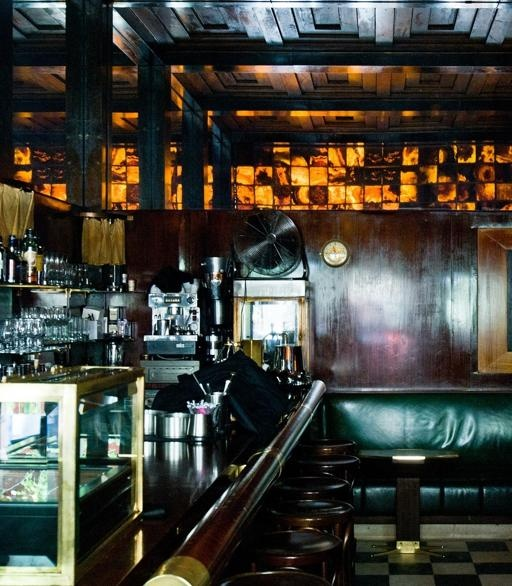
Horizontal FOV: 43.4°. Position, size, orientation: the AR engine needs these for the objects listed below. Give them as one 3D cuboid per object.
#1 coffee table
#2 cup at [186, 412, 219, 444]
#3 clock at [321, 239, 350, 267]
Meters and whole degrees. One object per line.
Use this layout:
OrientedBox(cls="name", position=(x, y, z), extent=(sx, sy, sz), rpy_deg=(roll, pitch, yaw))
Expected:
OrientedBox(cls="coffee table", position=(1.115, 1.498, 4.663), extent=(0.693, 0.741, 0.694), rpy_deg=(-3, -3, 13))
OrientedBox(cls="cup", position=(-0.230, 0.533, 2.566), extent=(0.119, 0.116, 0.079), rpy_deg=(-2, -3, 11))
OrientedBox(cls="clock", position=(0.774, -0.379, 6.189), extent=(0.339, 0.273, 0.074), rpy_deg=(1, 0, 5))
